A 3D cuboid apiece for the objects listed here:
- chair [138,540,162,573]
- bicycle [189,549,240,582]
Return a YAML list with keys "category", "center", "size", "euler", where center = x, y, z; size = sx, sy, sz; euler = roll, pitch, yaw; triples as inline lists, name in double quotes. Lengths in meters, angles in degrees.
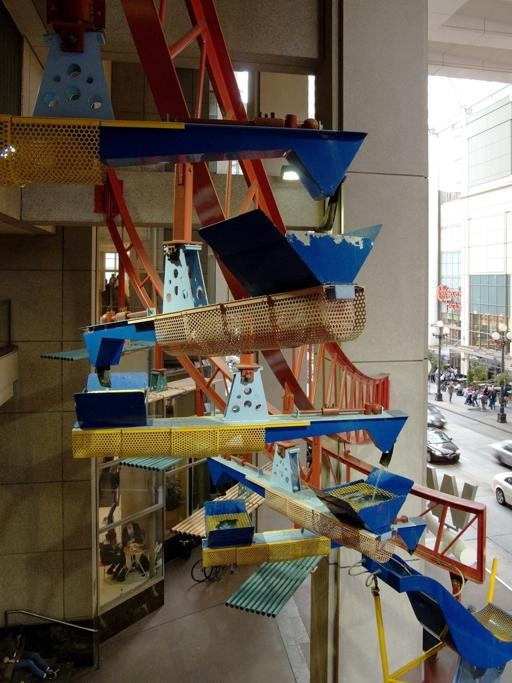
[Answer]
- category: "chair"
  center: [-1.743, 3.470, 10.808]
  size: [0.351, 0.530, 0.354]
  euler: [1, -15, -10]
- category: "bicycle"
  center: [-0.877, 4.040, 11.986]
  size: [0.801, 0.203, 0.852]
  euler: [1, 3, 23]
